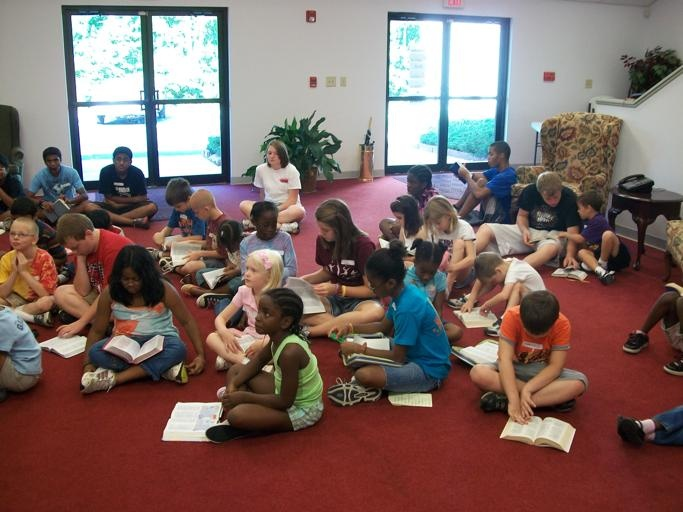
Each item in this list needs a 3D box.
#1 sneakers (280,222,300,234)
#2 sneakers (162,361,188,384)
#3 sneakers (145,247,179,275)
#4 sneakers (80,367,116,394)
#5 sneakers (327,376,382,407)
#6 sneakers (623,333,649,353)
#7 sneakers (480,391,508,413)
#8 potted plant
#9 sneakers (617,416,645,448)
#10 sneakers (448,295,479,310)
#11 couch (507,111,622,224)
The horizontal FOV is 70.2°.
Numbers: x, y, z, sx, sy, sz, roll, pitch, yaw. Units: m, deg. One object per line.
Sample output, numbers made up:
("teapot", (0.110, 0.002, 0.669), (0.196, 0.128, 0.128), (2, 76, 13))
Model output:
("sneakers", (-0.601, -0.325, 5.829), (0.260, 0.124, 0.094), (4, 55, -15))
("sneakers", (-1.007, 0.716, 2.926), (0.120, 0.047, 0.124), (-12, 37, -21))
("sneakers", (-1.479, 0.051, 4.041), (0.256, 0.117, 0.086), (35, 33, -13))
("sneakers", (-1.413, 0.726, 2.841), (0.193, 0.115, 0.093), (-8, 5, -33))
("sneakers", (0.077, 0.821, 2.860), (0.297, 0.139, 0.148), (10, 32, -9))
("sneakers", (2.026, 0.590, 3.341), (0.227, 0.106, 0.085), (-10, 7, -37))
("sneakers", (0.853, 0.826, 2.724), (0.190, 0.076, 0.086), (-2, 21, 7))
("potted plant", (-0.788, -1.893, 8.024), (1.267, 0.964, 1.437), (8, 11, 1))
("sneakers", (1.462, 0.890, 2.478), (0.109, 0.155, 0.118), (-22, 18, 35))
("sneakers", (1.008, 0.369, 3.976), (0.215, 0.094, 0.103), (-4, 10, -10))
("couch", (2.603, -0.994, 5.604), (0.954, 1.344, 1.178), (10, 15, 39))
